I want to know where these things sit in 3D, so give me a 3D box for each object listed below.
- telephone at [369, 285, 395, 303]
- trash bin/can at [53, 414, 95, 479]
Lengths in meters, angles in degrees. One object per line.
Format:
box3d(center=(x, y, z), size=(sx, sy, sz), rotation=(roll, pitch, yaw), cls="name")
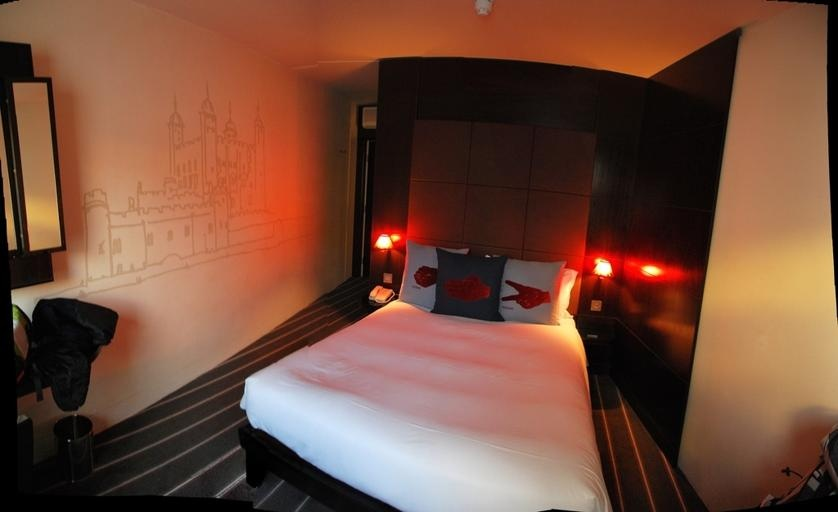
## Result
box3d(center=(-0.403, 0.414, 5.355), size=(0.189, 0.060, 0.188), rotation=(8, 32, 15), cls="telephone")
box3d(center=(-2.485, 1.381, 3.697), size=(0.219, 0.395, 0.245), rotation=(-3, 14, -37), cls="trash bin/can")
